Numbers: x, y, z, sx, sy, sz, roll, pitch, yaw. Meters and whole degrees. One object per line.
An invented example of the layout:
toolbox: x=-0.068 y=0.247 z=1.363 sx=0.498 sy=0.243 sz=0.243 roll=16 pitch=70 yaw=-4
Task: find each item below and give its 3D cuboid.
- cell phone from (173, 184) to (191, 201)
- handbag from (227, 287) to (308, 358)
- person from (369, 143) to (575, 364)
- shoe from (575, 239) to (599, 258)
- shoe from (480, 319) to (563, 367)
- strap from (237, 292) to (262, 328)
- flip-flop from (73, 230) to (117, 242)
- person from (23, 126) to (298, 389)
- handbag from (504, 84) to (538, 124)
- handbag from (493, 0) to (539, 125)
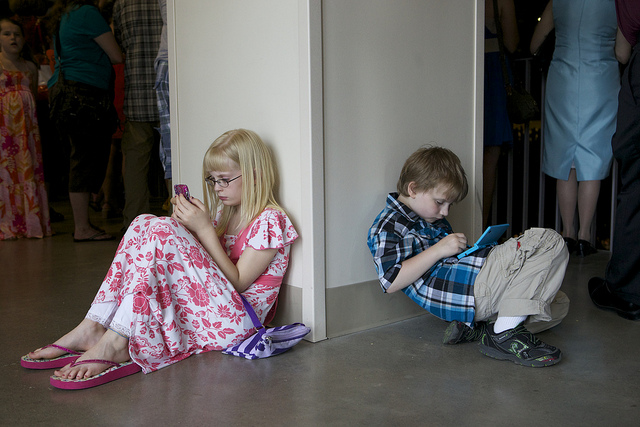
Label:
cell phone: x=-0.558 y=-0.084 z=1.951 sx=0.073 sy=0.059 sz=0.008 roll=27 pitch=24 yaw=27
handbag: x=-0.208 y=0.420 z=1.870 sx=0.250 sy=0.111 sz=0.253 roll=48 pitch=22 yaw=24
person: x=0.648 y=0.137 z=2.047 sx=0.719 sy=0.862 sz=0.772 roll=-2 pitch=-2 yaw=-43
shoe: x=1.759 y=0.217 z=3.216 sx=0.253 sy=0.112 sz=0.098 roll=-12 pitch=16 yaw=-42
shoe: x=0.738 y=0.465 z=1.772 sx=0.289 sy=0.135 sz=0.121 roll=4 pitch=13 yaw=21
strap: x=-0.275 y=0.369 z=1.870 sx=0.023 sy=0.142 sz=0.022 roll=-15 pitch=-20 yaw=-48
flip-flop: x=-1.787 y=0.205 z=3.853 sx=0.330 sy=0.094 sz=0.123 roll=-4 pitch=11 yaw=-21
person: x=-0.579 y=0.119 z=1.905 sx=0.991 sy=0.826 sz=0.511 roll=-5 pitch=9 yaw=-40
handbag: x=1.272 y=-0.709 z=3.135 sx=0.159 sy=0.320 sz=0.285 roll=-3 pitch=15 yaw=46
handbag: x=1.235 y=-0.945 z=3.052 sx=0.328 sy=0.740 sz=0.184 roll=1 pitch=12 yaw=10
